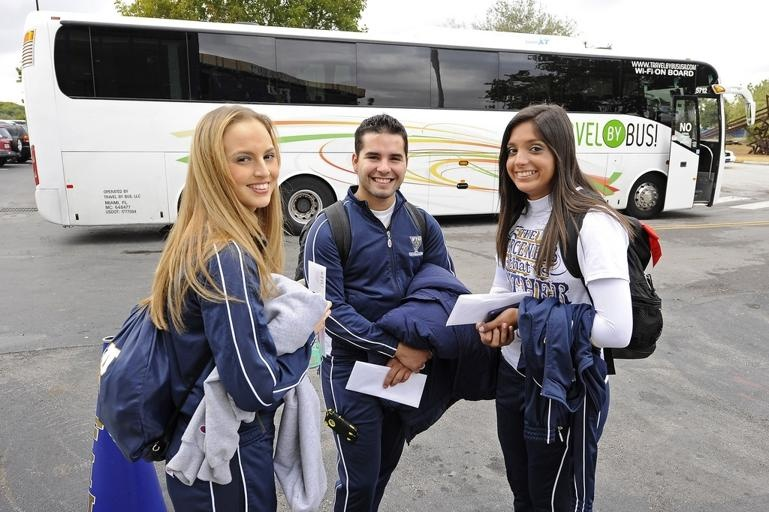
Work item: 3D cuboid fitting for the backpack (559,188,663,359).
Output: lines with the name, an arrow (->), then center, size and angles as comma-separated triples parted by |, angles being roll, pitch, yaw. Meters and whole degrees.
backpack -> 1.424, 0.210, 3.170 | 0.680, 0.932, 0.292 | -5, 13, -18

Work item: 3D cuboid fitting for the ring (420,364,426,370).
ring -> 0.249, 0.701, 3.356 | 0.031, 0.023, 0.031 | -1, 1, 0

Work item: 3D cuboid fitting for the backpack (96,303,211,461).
backpack -> -1.227, 0.690, 2.774 | 0.569, 0.768, 0.339 | 5, 14, 27
